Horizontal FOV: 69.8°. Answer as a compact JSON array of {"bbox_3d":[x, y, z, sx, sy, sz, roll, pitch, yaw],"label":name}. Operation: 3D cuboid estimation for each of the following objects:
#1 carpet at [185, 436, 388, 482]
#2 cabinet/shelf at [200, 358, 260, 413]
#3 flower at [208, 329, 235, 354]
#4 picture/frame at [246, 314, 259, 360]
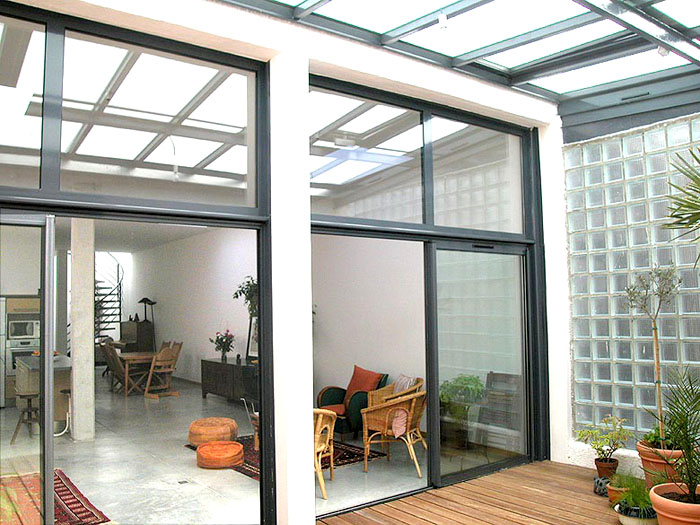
[{"bbox_3d":[-0.683,2.606,6.950,1.997,0.018,1.827,-6,-5,41],"label":"carpet"},{"bbox_3d":[-0.882,0.982,4.161,0.729,0.334,0.218,1,4,30],"label":"cabinet/shelf"},{"bbox_3d":[-1.029,0.638,4.114,0.206,0.171,0.084,-11,3,-26],"label":"flower"},{"bbox_3d":[-0.810,0.619,4.139,0.105,0.350,0.049,-4,-8,-10],"label":"picture/frame"}]
